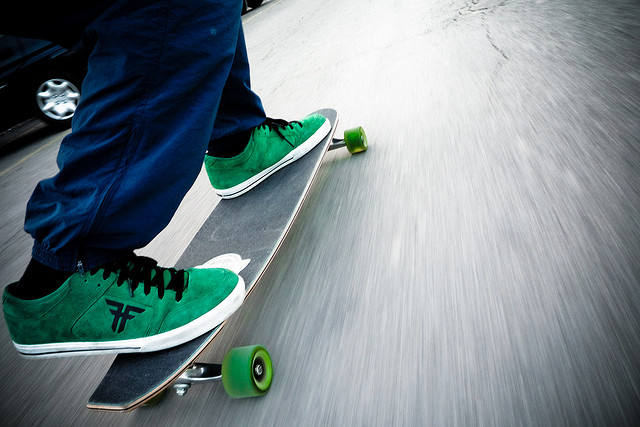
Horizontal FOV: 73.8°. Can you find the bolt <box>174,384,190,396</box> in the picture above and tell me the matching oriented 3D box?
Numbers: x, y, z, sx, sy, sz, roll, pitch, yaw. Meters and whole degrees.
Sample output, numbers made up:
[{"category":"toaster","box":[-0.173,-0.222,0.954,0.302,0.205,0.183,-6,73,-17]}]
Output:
[{"category":"bolt","box":[-0.619,0.765,1.881,0.044,0.058,0.018,4,2,-7]}]

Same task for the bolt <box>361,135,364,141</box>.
[{"category":"bolt","box":[0.278,-0.507,2.838,0.013,0.007,0.048,1,35,10]}]

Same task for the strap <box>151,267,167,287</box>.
[{"category":"strap","box":[-0.732,0.287,1.917,0.026,0.014,0.099,21,61,-7]}]

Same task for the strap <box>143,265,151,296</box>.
[{"category":"strap","box":[-0.771,0.292,1.897,0.028,0.125,0.018,-3,4,-16]}]

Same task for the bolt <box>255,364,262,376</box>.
[{"category":"bolt","box":[-0.274,0.684,1.882,0.015,0.049,0.007,6,-7,-44]}]
